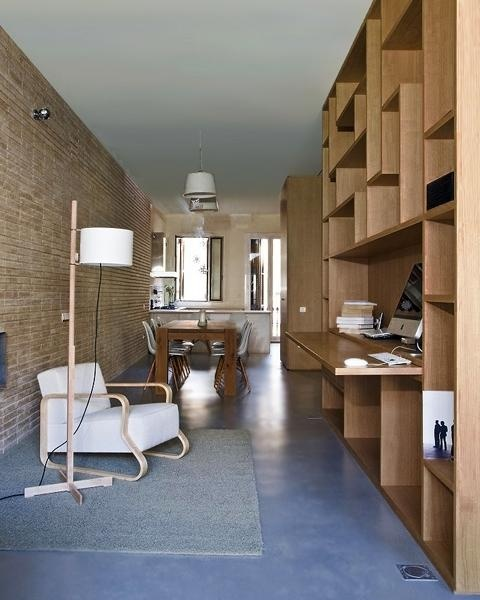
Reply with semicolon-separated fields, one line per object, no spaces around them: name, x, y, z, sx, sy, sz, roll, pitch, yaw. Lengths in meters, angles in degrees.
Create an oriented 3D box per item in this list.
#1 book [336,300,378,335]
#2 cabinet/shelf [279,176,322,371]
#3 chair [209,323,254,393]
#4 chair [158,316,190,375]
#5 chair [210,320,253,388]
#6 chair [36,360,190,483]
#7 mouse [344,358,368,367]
book;0.933;0.141;3.809;0.251;0.224;0.317;0;0;30
cabinet/shelf;1.057;-0.655;8.052;0.567;2.618;1.508;-4;30;1
chair;-0.097;0.823;6.691;0.730;1.219;1.061;1;-2;-1
chair;-0.896;0.644;6.409;0.289;0.522;0.812;1;-1;0
chair;-0.143;0.748;6.600;0.575;0.978;0.851;2;3;-3
chair;-0.878;0.782;3.235;0.859;0.628;0.638;0;-2;20
mouse;0.552;0.294;2.228;0.105;0.027;0.141;0;2;23
